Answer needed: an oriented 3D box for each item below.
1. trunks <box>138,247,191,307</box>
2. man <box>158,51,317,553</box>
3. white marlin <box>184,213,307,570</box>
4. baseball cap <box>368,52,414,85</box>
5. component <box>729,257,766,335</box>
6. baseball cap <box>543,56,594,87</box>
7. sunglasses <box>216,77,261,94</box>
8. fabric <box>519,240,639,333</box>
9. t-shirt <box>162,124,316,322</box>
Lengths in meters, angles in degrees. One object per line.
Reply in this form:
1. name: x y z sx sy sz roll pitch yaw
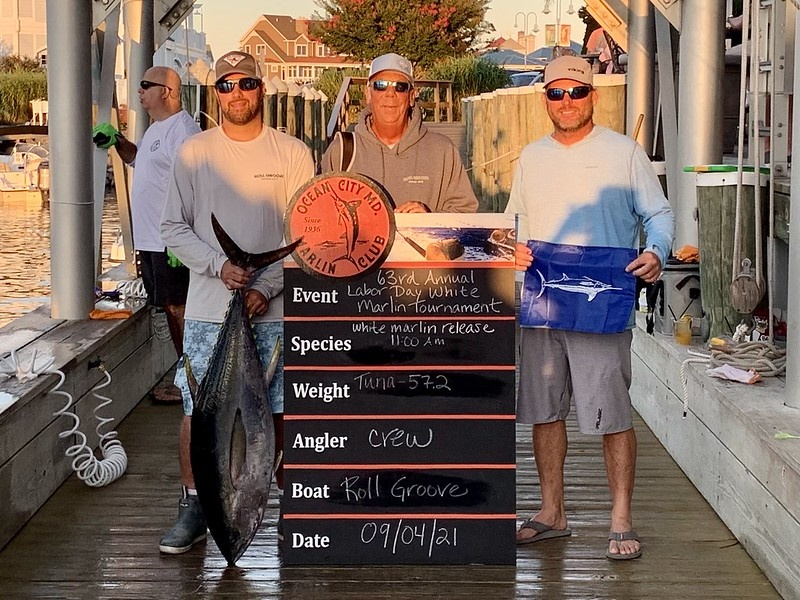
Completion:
1. trunks: -1.720 -0.173 6.409 0.310 0.624 0.578 -4 6 -7
2. man: -0.801 0.045 4.457 0.748 2.555 0.622 -6 16 -30
3. white marlin: -0.785 0.559 4.161 0.476 1.841 0.483 0 30 -13
4. baseball cap: -0.049 -1.166 4.391 0.186 0.152 0.275 5 -5 -7
5. component: 2.109 0.006 5.259 0.183 0.542 0.153 -3 6 -30
6. baseball cap: 0.835 -1.138 4.271 0.234 0.154 0.199 2 10 9
7. sunglasses: -0.784 -1.045 4.193 0.217 0.077 0.083 -2 10 -11
8. fabric: 0.910 -0.077 4.332 0.369 0.337 0.034 4 3 14
9. t-shirt: -0.817 -0.432 4.389 0.708 0.953 0.514 -4 34 -16
